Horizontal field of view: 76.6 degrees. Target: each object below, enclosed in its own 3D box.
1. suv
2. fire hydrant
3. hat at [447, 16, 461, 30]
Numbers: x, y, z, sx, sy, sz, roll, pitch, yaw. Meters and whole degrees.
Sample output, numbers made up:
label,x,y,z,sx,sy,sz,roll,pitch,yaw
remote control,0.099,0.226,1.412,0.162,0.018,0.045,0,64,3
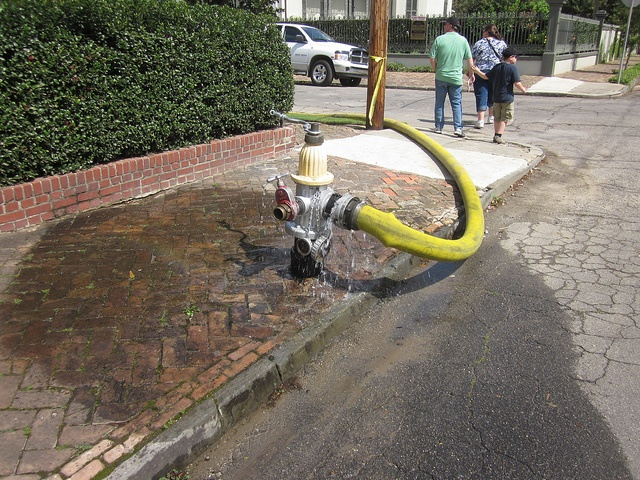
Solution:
label,x,y,z,sx,sy,sz,roll,pitch,yaw
suv,0.144,-7.930,17.349,3.595,2.441,1.006,11,27,24
fire hydrant,-0.049,-0.325,3.863,0.821,1.508,0.555,-4,25,-8
hat,3.164,-5.160,9.665,0.239,0.327,1.145,8,25,17
